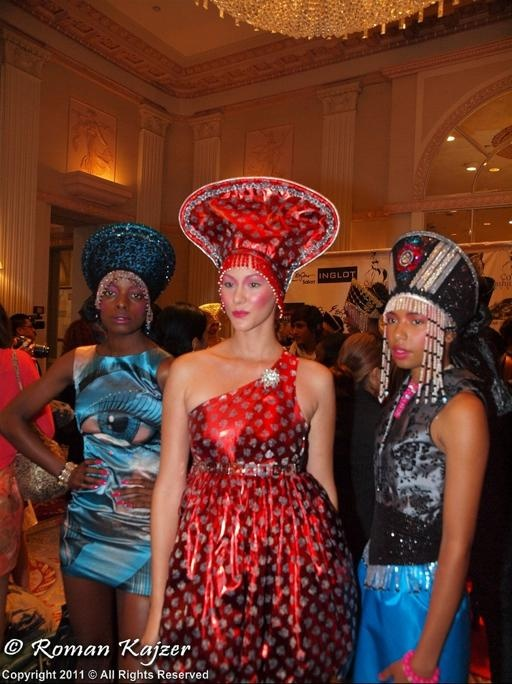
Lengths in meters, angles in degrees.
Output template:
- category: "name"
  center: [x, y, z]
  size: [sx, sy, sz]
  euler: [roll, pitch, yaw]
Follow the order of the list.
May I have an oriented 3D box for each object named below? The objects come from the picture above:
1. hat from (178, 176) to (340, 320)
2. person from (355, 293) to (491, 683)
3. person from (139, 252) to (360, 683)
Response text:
- category: "hat"
  center: [0.002, -0.236, 1.422]
  size: [0.437, 0.145, 0.387]
  euler: [6, 35, -11]
- category: "person"
  center: [0.404, 0.392, 1.287]
  size: [0.265, 0.928, 0.430]
  euler: [3, 6, 12]
- category: "person"
  center: [-0.005, 0.305, 1.280]
  size: [0.521, 0.978, 0.445]
  euler: [1, 6, -10]
